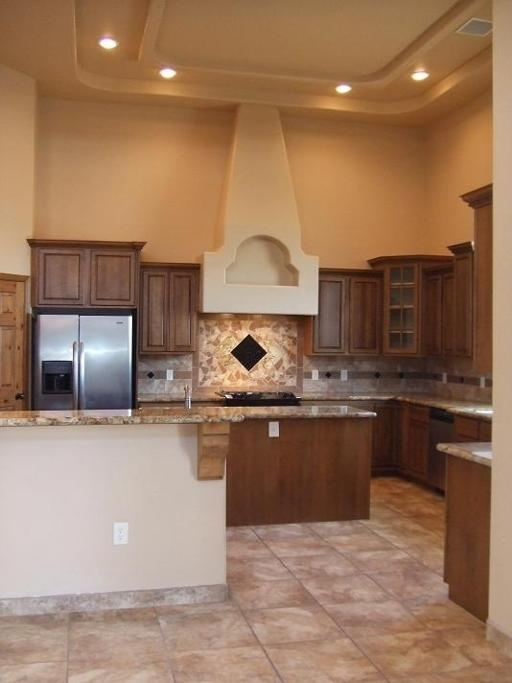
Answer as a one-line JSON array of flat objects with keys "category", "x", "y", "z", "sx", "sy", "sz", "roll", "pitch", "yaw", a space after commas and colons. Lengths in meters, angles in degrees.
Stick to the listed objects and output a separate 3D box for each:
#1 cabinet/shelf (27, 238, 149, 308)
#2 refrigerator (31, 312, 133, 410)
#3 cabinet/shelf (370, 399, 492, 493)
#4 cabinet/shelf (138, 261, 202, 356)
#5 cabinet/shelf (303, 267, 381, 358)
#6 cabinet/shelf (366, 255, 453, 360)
[{"category": "cabinet/shelf", "x": -1.742, "y": -0.672, "z": 6.061, "sx": 1.127, "sy": 0.681, "sz": 0.333, "roll": 0, "pitch": -6, "yaw": -13}, {"category": "refrigerator", "x": -1.798, "y": 0.199, "z": 6.101, "sx": 0.976, "sy": 1.282, "sz": 0.721, "roll": -4, "pitch": 24, "yaw": -24}, {"category": "cabinet/shelf", "x": 1.707, "y": 1.051, "z": 6.102, "sx": 0.870, "sy": 0.545, "sz": 0.859, "roll": 0, "pitch": -1, "yaw": 0}, {"category": "cabinet/shelf", "x": -0.880, "y": -0.337, "z": 6.547, "sx": 0.732, "sy": 1.064, "sz": 0.555, "roll": 1, "pitch": 1, "yaw": 16}, {"category": "cabinet/shelf", "x": 1.007, "y": -0.365, "z": 6.842, "sx": 1.074, "sy": 1.263, "sz": 0.534, "roll": 0, "pitch": -1, "yaw": -10}, {"category": "cabinet/shelf", "x": 1.755, "y": -0.419, "z": 6.831, "sx": 0.680, "sy": 1.150, "sz": 0.263, "roll": -1, "pitch": 2, "yaw": 17}]
